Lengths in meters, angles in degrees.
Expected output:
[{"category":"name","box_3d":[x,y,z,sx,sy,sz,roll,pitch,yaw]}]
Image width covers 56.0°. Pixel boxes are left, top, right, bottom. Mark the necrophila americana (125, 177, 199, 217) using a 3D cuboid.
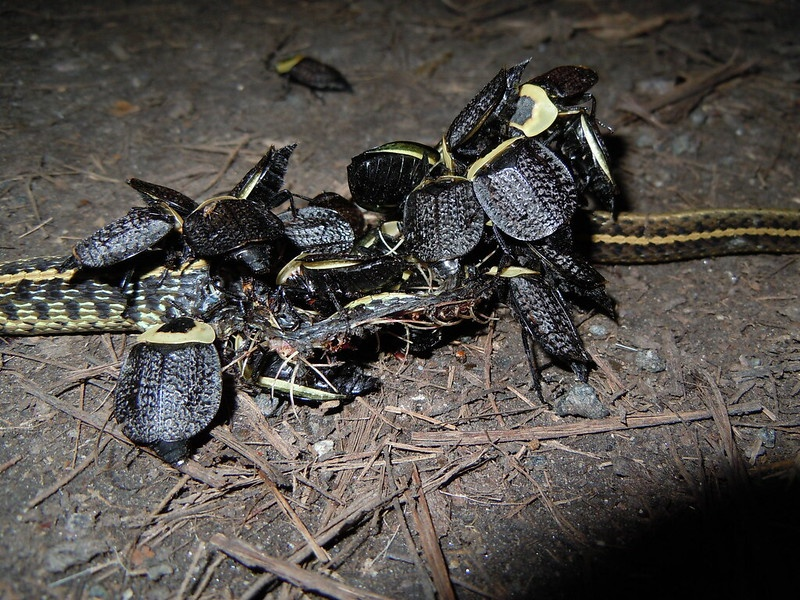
[{"category":"necrophila americana","box_3d":[-1.547,-0.673,4.931,0.498,0.089,0.303,9,6,-12]}]
